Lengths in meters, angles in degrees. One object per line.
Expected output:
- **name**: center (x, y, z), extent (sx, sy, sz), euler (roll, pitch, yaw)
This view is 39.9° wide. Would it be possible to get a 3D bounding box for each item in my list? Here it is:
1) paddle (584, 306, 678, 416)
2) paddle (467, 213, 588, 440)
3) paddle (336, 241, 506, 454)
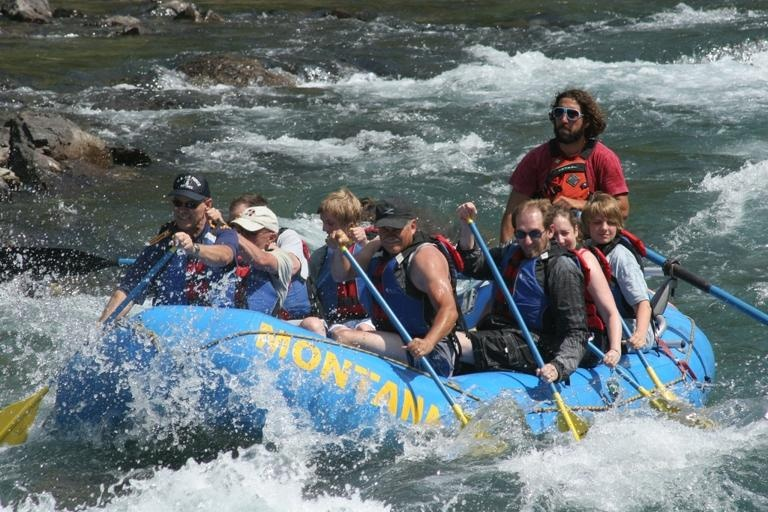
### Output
- **paddle**: center (3.161, 1.393, 14.339), extent (0.612, 2.041, 0.172), euler (-41, 1, -5)
- **paddle**: center (1.930, 1.001, 13.876), extent (0.440, 3.057, 0.448), euler (-27, -8, 3)
- **paddle**: center (0.498, 1.242, 13.696), extent (0.223, 2.973, 0.649), euler (-41, 3, -37)
